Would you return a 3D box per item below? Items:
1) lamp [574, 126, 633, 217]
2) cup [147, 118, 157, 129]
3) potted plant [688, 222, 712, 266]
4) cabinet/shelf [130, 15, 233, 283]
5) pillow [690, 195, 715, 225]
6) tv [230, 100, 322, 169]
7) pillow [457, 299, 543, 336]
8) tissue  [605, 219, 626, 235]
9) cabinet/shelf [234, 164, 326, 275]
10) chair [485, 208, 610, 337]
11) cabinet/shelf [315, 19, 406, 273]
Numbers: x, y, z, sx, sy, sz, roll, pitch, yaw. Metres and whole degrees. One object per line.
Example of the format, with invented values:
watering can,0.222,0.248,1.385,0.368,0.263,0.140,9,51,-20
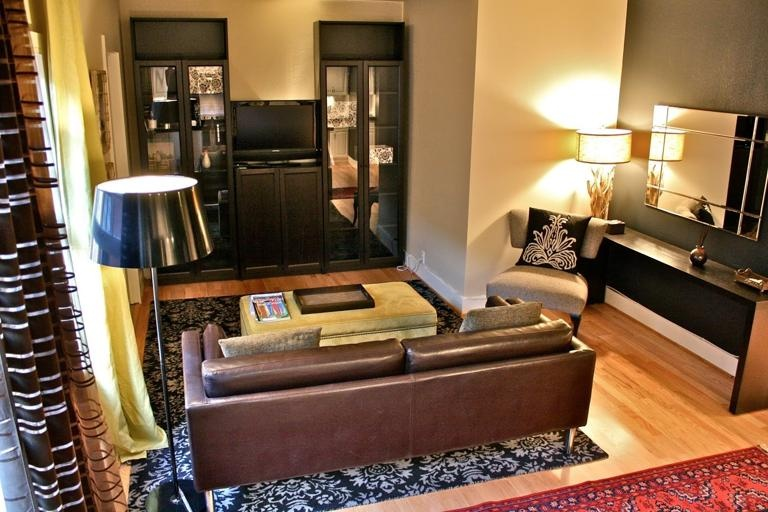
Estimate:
lamp,2.258,-0.835,5.738,0.531,0.966,0.648,5,19,22
cup,-2.515,-1.451,5.973,0.110,0.140,0.052,-1,28,-13
potted plant,2.837,-0.101,4.972,0.141,0.313,0.425,8,20,30
cabinet/shelf,-2.167,-1.130,6.090,1.086,2.807,0.335,-3,9,-10
pillow,2.904,-0.430,5.035,0.116,0.194,0.206,-20,32,-3
tv,-1.287,-1.436,6.364,0.916,0.606,0.095,-3,20,-10
pillow,0.849,0.446,3.951,0.365,0.145,0.350,-4,16,0
tissue ,2.382,-0.293,5.689,0.178,0.100,0.170,1,13,6
cabinet/shelf,-1.270,-0.486,6.539,1.264,1.498,0.537,-2,20,-10
chair,1.589,0.129,5.489,1.001,1.086,1.102,13,27,30
cabinet/shelf,-0.268,-1.305,6.716,1.119,2.929,0.457,-5,18,-6
